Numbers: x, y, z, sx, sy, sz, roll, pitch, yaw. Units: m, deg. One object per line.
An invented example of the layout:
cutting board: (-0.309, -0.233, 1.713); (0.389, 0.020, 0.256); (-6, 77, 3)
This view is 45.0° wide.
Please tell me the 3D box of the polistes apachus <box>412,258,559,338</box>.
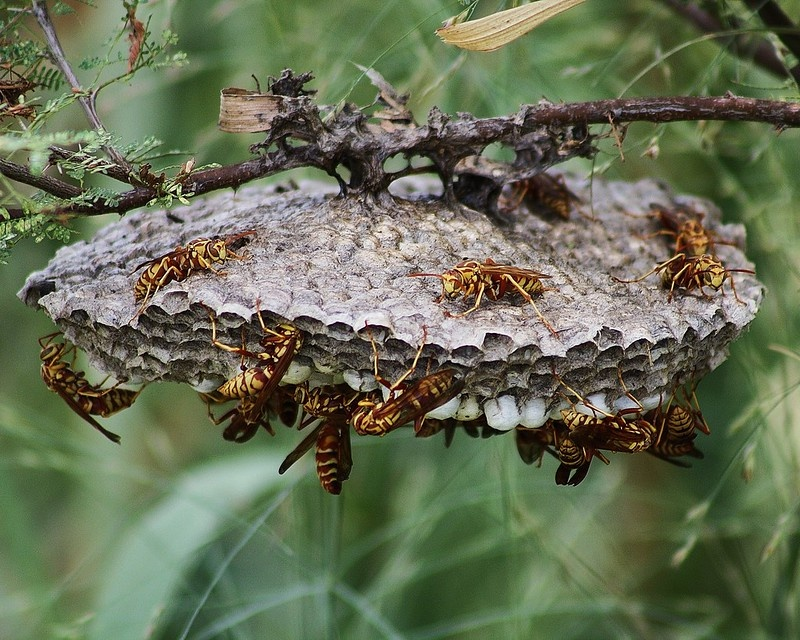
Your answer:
polistes apachus: (0.164, -0.050, 1.965); (0.286, 0.118, 0.181); (-4, 33, 3)

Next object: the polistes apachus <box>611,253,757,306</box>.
polistes apachus: (0.642, -0.102, 2.143); (0.178, 0.075, 0.264); (-7, 14, -35)

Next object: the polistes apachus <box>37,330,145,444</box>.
polistes apachus: (-0.734, 0.154, 2.237); (0.212, 0.304, 0.205); (8, 15, 29)
